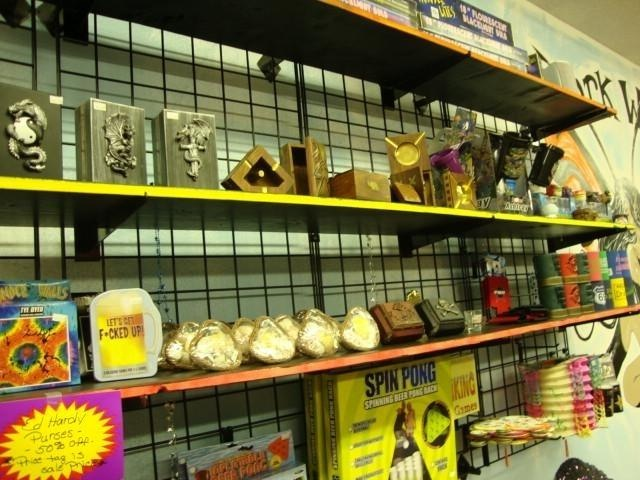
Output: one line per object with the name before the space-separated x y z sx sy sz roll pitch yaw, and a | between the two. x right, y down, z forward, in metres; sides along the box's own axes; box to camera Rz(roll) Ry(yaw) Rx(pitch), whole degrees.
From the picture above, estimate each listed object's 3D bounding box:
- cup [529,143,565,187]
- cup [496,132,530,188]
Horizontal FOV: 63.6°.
cup | 1.278 -0.417 2.958 0.179 0.224 0.167 20 -6 2
cup | 1.034 -0.461 2.745 0.194 0.177 0.284 4 -44 12
